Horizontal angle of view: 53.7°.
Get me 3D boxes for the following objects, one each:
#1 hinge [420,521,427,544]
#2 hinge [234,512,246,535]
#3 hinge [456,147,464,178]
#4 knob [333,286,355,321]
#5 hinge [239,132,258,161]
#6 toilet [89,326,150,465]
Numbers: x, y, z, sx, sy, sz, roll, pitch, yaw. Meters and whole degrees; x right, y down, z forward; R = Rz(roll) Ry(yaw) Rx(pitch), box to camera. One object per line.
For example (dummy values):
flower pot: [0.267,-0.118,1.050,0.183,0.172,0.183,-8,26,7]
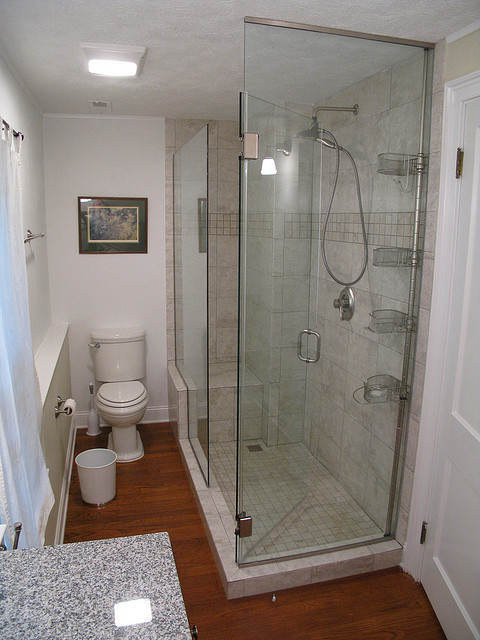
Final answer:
hinge: [0.792,0.910,2.047,0.027,0.106,0.016,5,9,33]
hinge: [0.002,0.856,2.004,0.044,0.096,0.021,-1,7,-9]
hinge: [0.794,-0.573,1.715,0.013,0.104,0.032,-1,7,-8]
knob: [0.421,-0.076,1.941,0.045,0.160,0.106,-2,4,-24]
hinge: [0.029,-0.632,1.776,0.056,0.156,0.095,1,8,6]
toilet: [-0.882,0.525,3.532,0.451,0.871,0.725,-2,8,-19]
